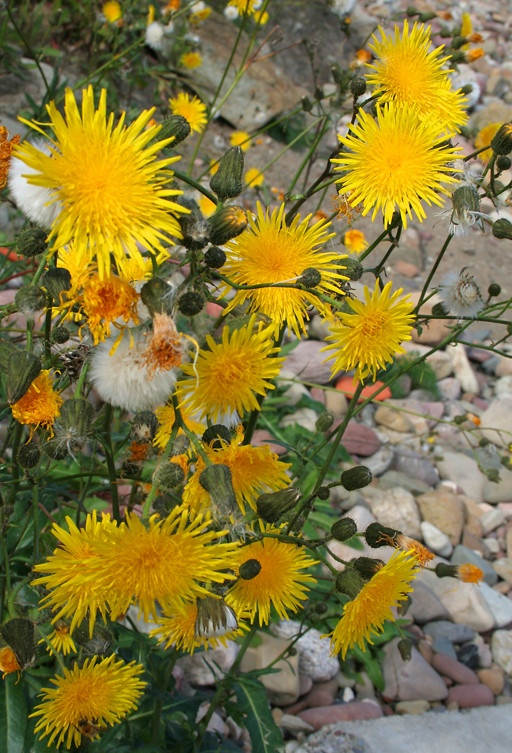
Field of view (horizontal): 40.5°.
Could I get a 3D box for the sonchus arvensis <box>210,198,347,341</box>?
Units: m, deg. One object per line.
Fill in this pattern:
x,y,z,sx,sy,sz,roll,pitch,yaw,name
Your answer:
0.034,-0.243,1.282,0.220,0.208,0.087,5,76,-33,sonchus arvensis

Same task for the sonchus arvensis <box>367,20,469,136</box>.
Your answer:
0.354,-0.649,1.501,0.214,0.109,0.203,39,12,-41,sonchus arvensis

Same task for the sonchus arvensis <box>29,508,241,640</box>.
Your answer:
-0.178,0.262,1.043,0.299,0.129,0.263,-2,5,-19,sonchus arvensis

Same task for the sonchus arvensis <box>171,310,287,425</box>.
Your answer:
-0.035,-0.001,1.110,0.084,0.164,0.158,35,30,-45,sonchus arvensis

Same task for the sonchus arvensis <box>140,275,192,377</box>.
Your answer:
-0.134,-0.074,1.026,0.081,0.129,0.072,-24,38,-35,sonchus arvensis

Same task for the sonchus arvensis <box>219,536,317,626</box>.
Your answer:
0.016,0.406,1.373,0.192,0.173,0.078,-14,23,-25,sonchus arvensis

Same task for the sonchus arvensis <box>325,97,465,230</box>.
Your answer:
0.281,-0.443,1.325,0.210,0.085,0.201,18,-15,-27,sonchus arvensis

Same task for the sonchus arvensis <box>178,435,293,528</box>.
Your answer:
-0.040,0.178,1.190,0.164,0.151,0.065,-12,18,9,sonchus arvensis

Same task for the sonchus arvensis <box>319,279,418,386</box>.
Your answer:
0.198,-0.079,1.248,0.228,0.243,0.099,6,69,-71,sonchus arvensis

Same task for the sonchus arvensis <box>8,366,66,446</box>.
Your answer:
-0.385,0.054,1.224,0.124,0.110,0.050,-7,15,-29,sonchus arvensis
